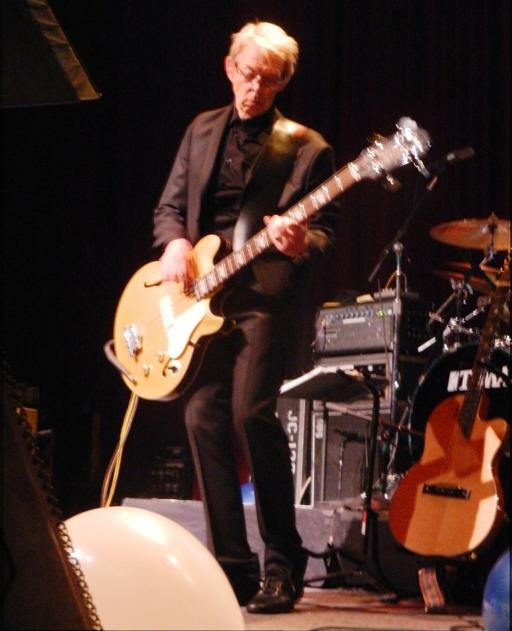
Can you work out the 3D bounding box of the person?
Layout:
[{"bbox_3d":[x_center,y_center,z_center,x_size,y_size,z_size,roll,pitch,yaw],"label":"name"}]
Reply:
[{"bbox_3d":[-0.004,-0.062,1.979,0.505,1.645,0.870,-2,8,-19],"label":"person"}]

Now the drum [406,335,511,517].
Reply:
[{"bbox_3d":[0.721,0.245,2.491,0.222,0.655,0.600,10,-27,28],"label":"drum"}]

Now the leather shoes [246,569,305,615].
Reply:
[{"bbox_3d":[0.056,0.690,1.684,0.058,0.100,0.200,-5,-21,15],"label":"leather shoes"}]
